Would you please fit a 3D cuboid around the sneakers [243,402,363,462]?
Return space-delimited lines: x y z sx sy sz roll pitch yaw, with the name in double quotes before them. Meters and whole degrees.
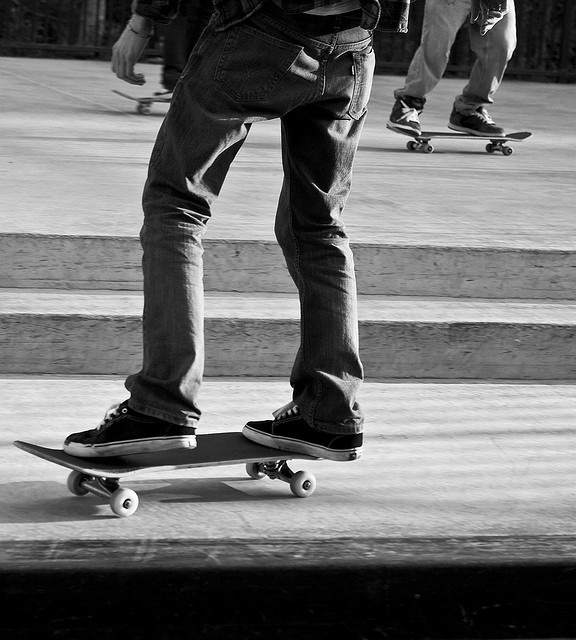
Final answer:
"sneakers" 0.038 0.284 2.607 0.384 0.124 0.119 10 2 27

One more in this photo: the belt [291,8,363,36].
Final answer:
"belt" 0.090 -0.671 2.226 0.180 0.075 0.036 -4 17 -43

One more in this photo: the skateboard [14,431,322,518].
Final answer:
"skateboard" -0.221 0.345 2.475 0.855 0.132 0.250 0 4 -27

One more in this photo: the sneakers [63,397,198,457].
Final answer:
"sneakers" -0.378 0.272 2.383 0.386 0.116 0.111 2 -2 -1

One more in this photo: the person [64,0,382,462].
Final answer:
"person" -0.105 -0.194 2.330 0.655 1.112 0.284 -1 15 -32
